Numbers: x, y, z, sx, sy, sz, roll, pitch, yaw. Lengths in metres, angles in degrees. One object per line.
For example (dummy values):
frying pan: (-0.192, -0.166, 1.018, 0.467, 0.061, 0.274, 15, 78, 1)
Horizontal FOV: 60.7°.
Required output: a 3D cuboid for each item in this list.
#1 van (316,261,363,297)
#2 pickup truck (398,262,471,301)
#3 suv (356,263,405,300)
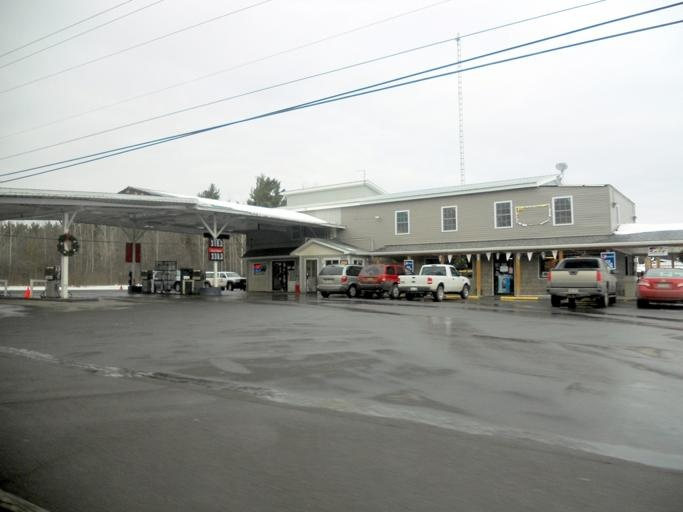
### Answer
van: (-0.007, 1.248, 30.324, 1.247, 1.102, 2.460, -1, 1, 31)
pickup truck: (4.618, 1.229, 28.529, 1.647, 1.340, 3.274, -1, 0, 39)
suv: (1.935, 1.224, 29.409, 1.326, 1.179, 2.623, -1, 1, 31)
